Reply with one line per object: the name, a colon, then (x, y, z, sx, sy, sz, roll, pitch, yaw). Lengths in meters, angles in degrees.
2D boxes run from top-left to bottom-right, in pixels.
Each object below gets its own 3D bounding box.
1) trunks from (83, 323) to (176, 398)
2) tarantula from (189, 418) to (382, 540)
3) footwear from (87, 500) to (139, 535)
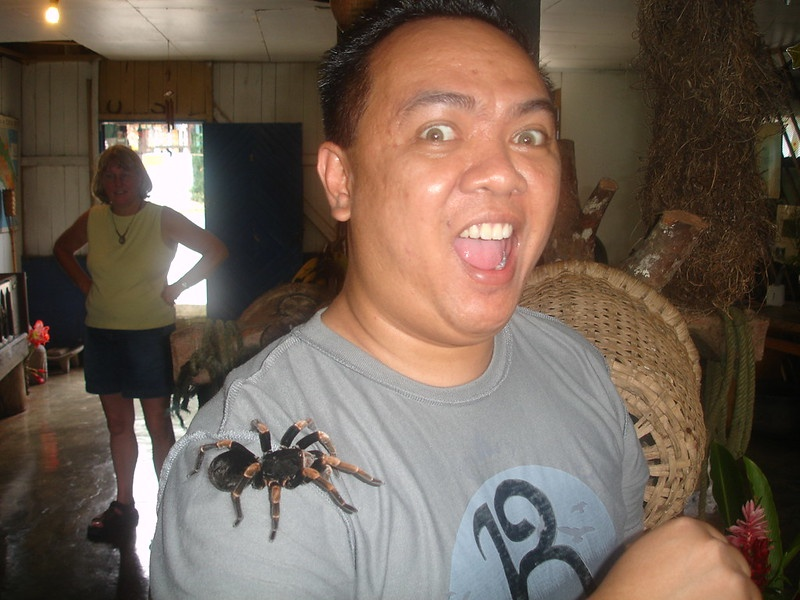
trunks: (-1.361, 0.317, 3.396, 0.574, 0.449, 0.345, 0, -5, 6)
tarantula: (-0.204, 0.307, 1.180, 0.332, 0.102, 0.245, -3, 14, -20)
footwear: (-1.576, 1.210, 3.581, 0.295, 0.178, 0.139, 2, 3, -34)
